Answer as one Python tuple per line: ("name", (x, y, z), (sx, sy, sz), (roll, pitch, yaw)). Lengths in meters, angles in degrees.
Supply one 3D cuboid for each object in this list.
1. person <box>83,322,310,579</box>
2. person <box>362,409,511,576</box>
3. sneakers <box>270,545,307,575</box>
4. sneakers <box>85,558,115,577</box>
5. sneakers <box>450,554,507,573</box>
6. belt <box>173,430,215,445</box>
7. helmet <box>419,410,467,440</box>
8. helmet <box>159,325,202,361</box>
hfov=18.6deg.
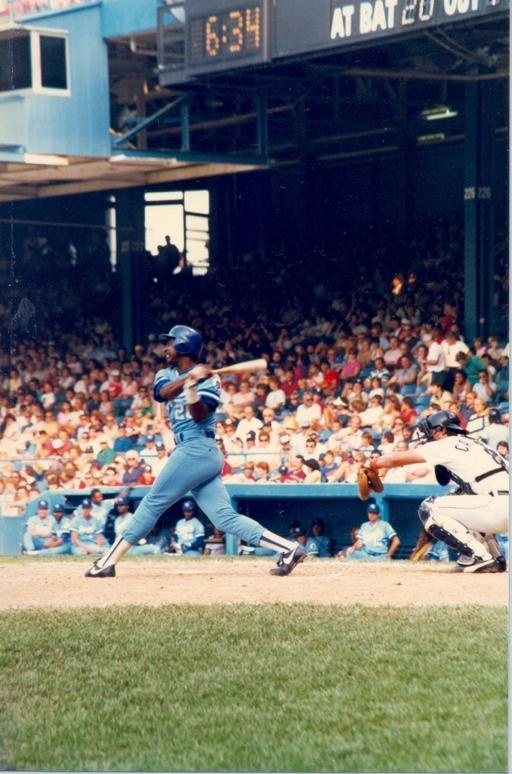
("person", (-0.373, 0.443, 9.558), (1.297, 1.606, 0.879), (-2, 5, 1))
("person", (0.998, 0.640, 9.729), (1.003, 0.945, 0.791), (3, -1, 37))
("sneakers", (0.216, 1.113, 9.967), (0.264, 0.130, 0.097), (-45, 3, 17))
("sneakers", (-0.997, 1.155, 9.962), (0.173, 0.094, 0.095), (4, -2, 25))
("sneakers", (1.430, 1.136, 9.906), (0.264, 0.143, 0.127), (-7, -5, 37))
("belt", (-0.382, 0.312, 9.566), (0.249, 0.073, 0.181), (-2, 6, 5))
("helmet", (1.167, 0.234, 9.814), (0.226, 0.167, 0.180), (5, -2, 26))
("helmet", (-0.462, -0.271, 9.644), (0.222, 0.217, 0.185), (5, 3, 4))
